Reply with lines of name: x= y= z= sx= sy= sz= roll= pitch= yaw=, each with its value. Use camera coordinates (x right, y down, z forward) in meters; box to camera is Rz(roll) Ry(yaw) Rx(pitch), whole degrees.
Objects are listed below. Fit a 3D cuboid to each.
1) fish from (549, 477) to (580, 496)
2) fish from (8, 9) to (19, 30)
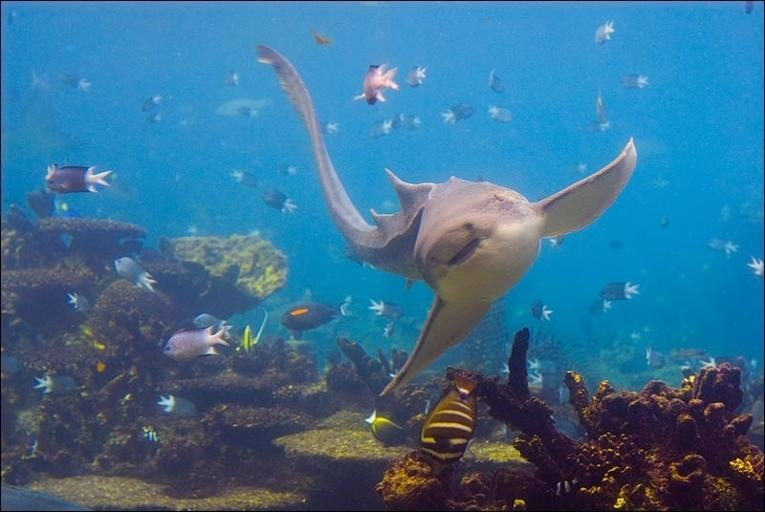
fish: x=4.696 y=5.868 z=19.422 sx=0.542 sy=0.126 sz=0.394 roll=-8 pitch=15 yaw=12
fish: x=-11.347 y=-7.273 z=23.404 sx=0.174 sy=0.520 sz=0.746 roll=-9 pitch=19 yaw=-11
